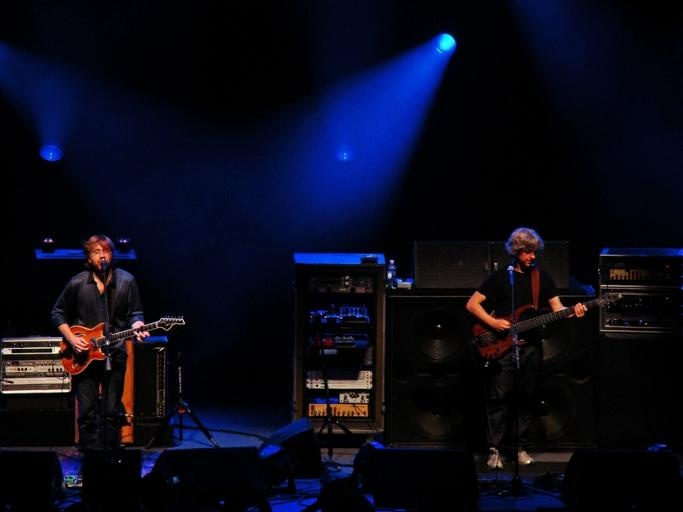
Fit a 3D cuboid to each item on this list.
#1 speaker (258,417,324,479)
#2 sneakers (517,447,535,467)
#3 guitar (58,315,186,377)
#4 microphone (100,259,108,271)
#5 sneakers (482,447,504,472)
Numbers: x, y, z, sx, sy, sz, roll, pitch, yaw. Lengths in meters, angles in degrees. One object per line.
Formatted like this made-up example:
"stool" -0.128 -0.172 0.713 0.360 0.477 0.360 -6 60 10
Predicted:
"speaker" -0.433 1.792 6.903 0.694 0.465 0.563 -10 1 4
"sneakers" 1.913 2.116 7.806 0.093 0.117 0.259 -1 4 -6
"guitar" -2.241 0.844 7.456 1.315 0.542 0.175 -13 -1 -6
"microphone" -2.305 0.087 7.224 0.084 0.127 0.169 2 -3 -12
"sneakers" 1.569 2.119 7.797 0.214 0.224 0.201 7 -2 9
